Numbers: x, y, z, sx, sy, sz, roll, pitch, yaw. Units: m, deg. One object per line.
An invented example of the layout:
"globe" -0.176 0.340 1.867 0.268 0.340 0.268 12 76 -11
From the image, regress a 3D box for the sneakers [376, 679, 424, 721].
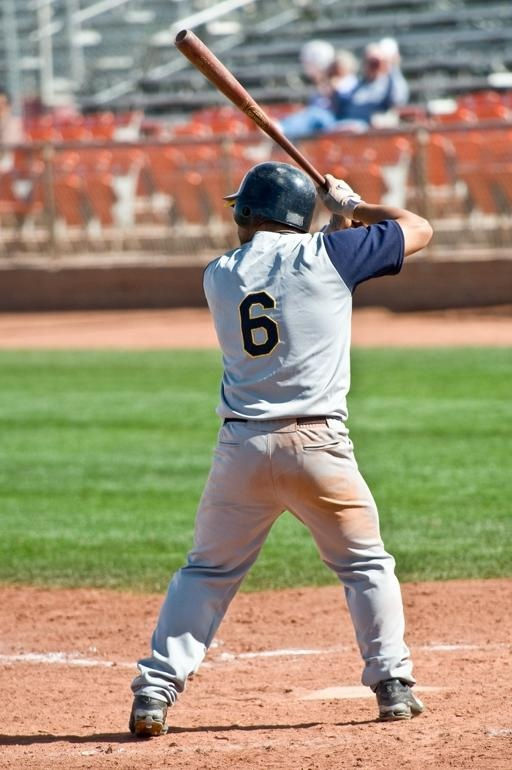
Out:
"sneakers" 0.408 0.922 3.495 0.085 0.076 0.197 -6 -7 20

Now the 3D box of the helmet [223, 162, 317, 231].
"helmet" 0.048 -0.568 3.621 0.313 0.191 0.221 9 6 29

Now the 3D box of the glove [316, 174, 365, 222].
"glove" 0.273 -0.592 3.777 0.118 0.051 0.171 -8 32 -11

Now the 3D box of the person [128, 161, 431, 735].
"person" 0.068 0.248 3.521 0.842 1.520 0.566 0 13 5

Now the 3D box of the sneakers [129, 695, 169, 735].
"sneakers" -0.307 0.947 3.441 0.082 0.072 0.156 3 -34 1
